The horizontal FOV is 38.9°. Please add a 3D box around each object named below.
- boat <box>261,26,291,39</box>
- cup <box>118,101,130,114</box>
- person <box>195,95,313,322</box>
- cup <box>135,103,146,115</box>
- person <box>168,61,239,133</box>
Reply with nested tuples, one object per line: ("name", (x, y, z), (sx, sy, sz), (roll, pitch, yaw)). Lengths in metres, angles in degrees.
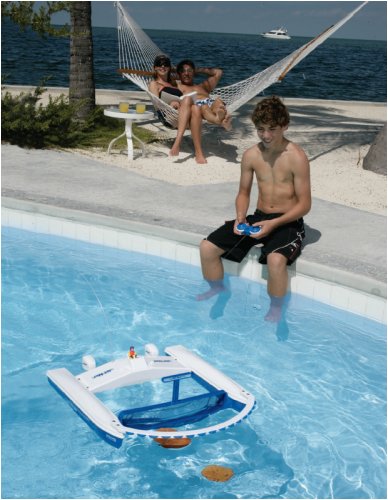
("boat", (12.435, -32.555, 83.479), (2.819, 2.231, 4.750), (0, 11, -17))
("cup", (-0.783, -1.582, 6.120), (0.103, 0.122, 0.319), (2, 11, -9))
("person", (0.387, -0.252, 3.333), (0.611, 1.299, 0.517), (12, 15, 27))
("cup", (-0.607, -1.582, 6.202), (0.107, 0.122, 0.392), (3, 10, -6))
("person", (0.182, -1.854, 6.415), (0.658, 0.472, 1.103), (-15, 35, -14))
